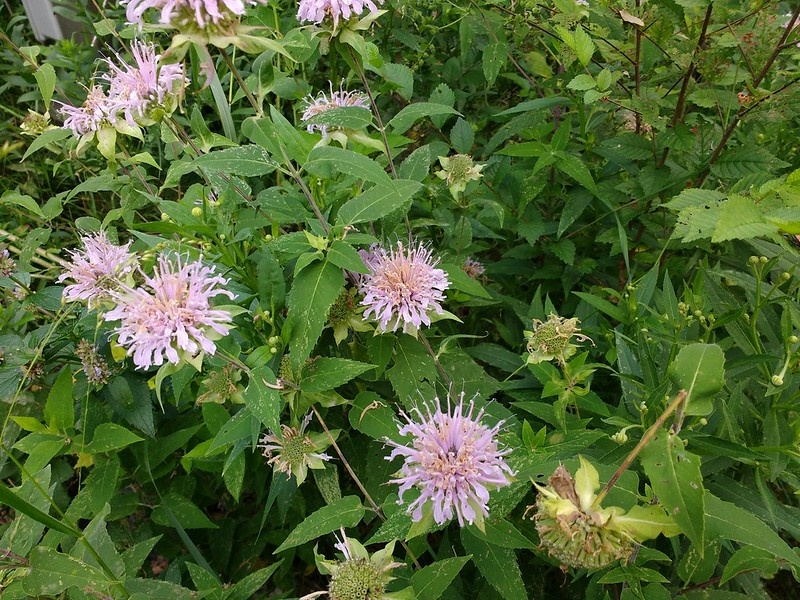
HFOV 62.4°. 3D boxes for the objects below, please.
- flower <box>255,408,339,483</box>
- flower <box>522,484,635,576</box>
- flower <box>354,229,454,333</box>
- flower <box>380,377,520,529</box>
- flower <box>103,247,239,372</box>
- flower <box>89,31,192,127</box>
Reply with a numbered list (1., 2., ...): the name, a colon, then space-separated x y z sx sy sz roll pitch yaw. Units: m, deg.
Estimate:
1. flower: -0.441 0.595 2.723 0.302 0.149 0.349 5 17 7
2. flower: 0.519 0.729 2.119 0.307 0.160 0.319 4 45 -48
3. flower: 0.038 -0.081 2.655 0.313 0.164 0.312 -8 25 -23
4. flower: 0.184 0.532 2.323 0.441 0.441 0.192 -3 87 -27
5. flower: -0.828 0.027 2.470 0.426 0.248 0.456 25 90 -16
6. flower: -1.056 -1.022 2.715 0.308 0.249 0.342 20 49 8
